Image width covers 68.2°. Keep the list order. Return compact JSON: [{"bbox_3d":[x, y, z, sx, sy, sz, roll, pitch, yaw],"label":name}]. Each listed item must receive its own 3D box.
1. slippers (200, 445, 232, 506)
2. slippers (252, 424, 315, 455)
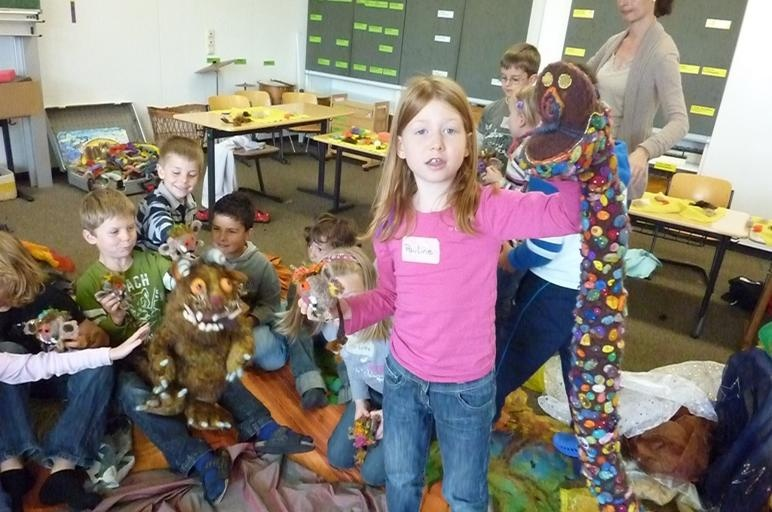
[{"bbox_3d":[-0.832,1.081,2.808,0.104,0.265,0.073,-15,-8,20],"label":"slippers"},{"bbox_3d":[-0.531,0.970,2.958,0.283,0.124,0.148,1,14,4],"label":"slippers"}]
